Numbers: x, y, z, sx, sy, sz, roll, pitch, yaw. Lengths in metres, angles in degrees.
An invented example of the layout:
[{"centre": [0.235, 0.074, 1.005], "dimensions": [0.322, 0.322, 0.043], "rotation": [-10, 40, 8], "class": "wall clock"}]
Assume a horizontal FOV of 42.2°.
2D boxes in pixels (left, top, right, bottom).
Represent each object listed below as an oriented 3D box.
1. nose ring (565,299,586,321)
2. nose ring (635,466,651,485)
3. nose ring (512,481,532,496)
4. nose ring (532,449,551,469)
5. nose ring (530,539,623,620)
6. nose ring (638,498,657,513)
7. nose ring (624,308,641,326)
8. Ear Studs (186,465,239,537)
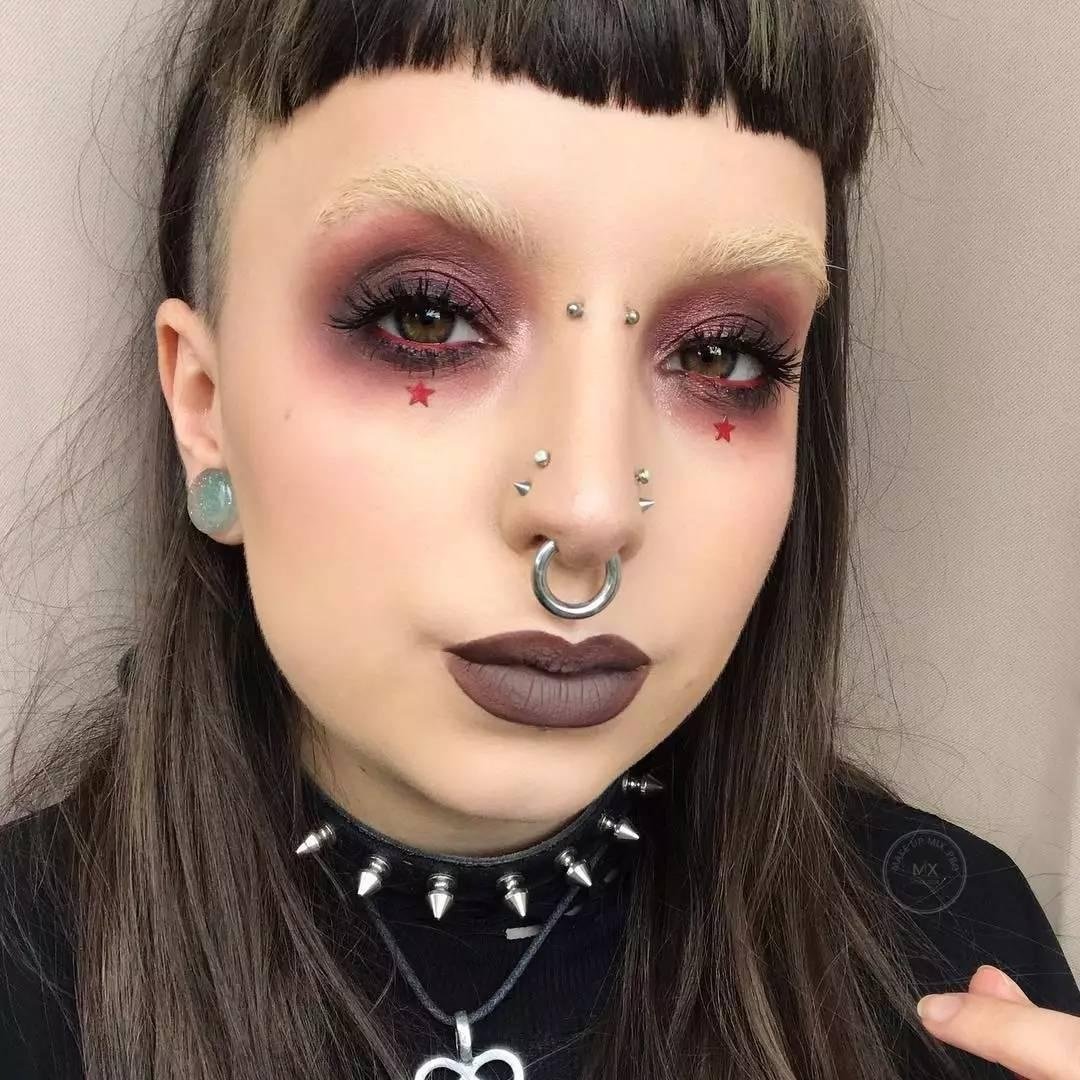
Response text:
[{"centre": [0.042, -0.270, 1.673], "dimensions": [0.022, 0.017, 0.013], "rotation": [-4, 40, 3], "class": "nose ring"}, {"centre": [0.124, -0.077, 1.700], "dimensions": [0.011, 0.021, 0.018], "rotation": [-15, -12, 34], "class": "nose ring"}, {"centre": [-0.022, -0.058, 1.631], "dimensions": [0.015, 0.019, 0.017], "rotation": [-15, -11, 41], "class": "nose ring"}, {"centre": [0.003, -0.093, 1.636], "dimensions": [0.018, 0.013, 0.021], "rotation": [-30, 47, -23], "class": "nose ring"}, {"centre": [0.037, 0.046, 1.647], "dimensions": [0.073, 0.093, 0.013], "rotation": [3, 5, -25], "class": "nose ring"}, {"centre": [0.130, -0.042, 1.697], "dimensions": [0.015, 0.022, 0.005], "rotation": [0, -6, -27], "class": "nose ring"}, {"centre": [0.111, -0.263, 1.688], "dimensions": [0.016, 0.024, 0.018], "rotation": [2, -6, -3], "class": "nose ring"}, {"centre": [-0.431, -0.046, 1.850], "dimensions": [0.075, 0.084, 0.040], "rotation": [34, 18, 27], "class": "Ear Studs"}]
